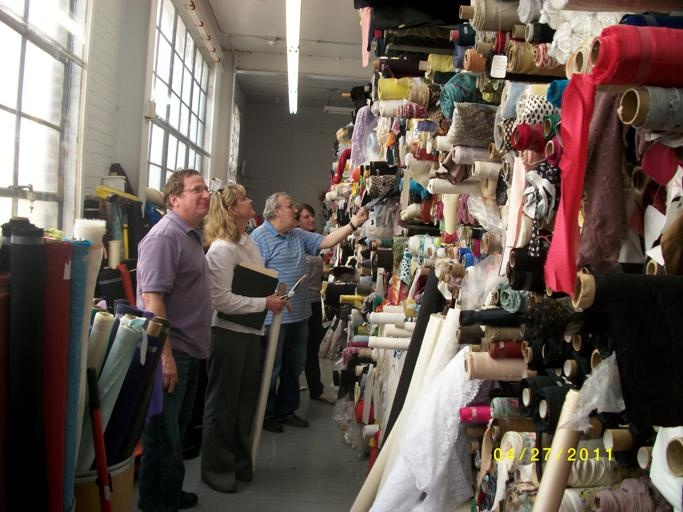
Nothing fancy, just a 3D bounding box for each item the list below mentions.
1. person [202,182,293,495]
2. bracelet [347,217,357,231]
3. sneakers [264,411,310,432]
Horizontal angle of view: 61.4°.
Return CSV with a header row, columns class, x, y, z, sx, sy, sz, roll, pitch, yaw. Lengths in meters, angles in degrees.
class,x,y,z,sx,sy,sz,roll,pitch,yaw
person,-0.678,0.514,3.916,0.526,2.019,0.467,1,2,-21
bracelet,0.111,-0.278,5.034,0.062,0.098,0.090,-38,-4,-31
sneakers,-0.478,1.458,5.016,0.397,0.213,0.147,-4,4,-17
